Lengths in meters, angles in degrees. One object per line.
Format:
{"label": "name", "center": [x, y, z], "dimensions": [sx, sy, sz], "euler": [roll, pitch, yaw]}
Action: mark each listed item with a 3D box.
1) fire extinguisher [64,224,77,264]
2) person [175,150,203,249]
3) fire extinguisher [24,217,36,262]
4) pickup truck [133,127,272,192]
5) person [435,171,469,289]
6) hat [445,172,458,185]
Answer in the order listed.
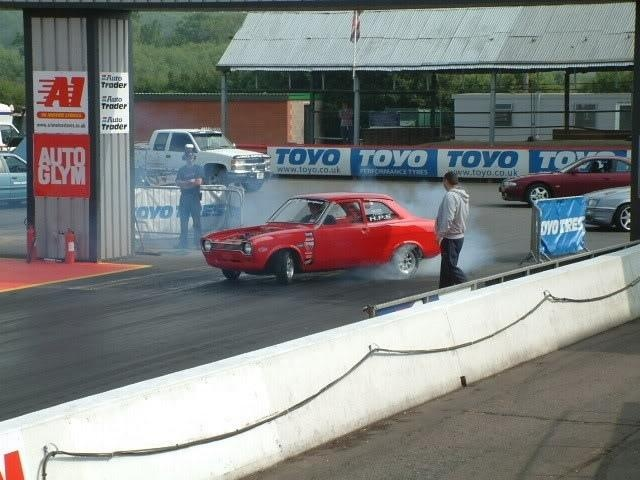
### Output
{"label": "fire extinguisher", "center": [-4.698, 0.116, 18.065], "dimensions": [0.210, 0.649, 0.292], "euler": [-3, 9, -11]}
{"label": "person", "center": [-2.688, -0.698, 19.975], "dimensions": [0.650, 1.700, 0.558], "euler": [2, 9, 21]}
{"label": "fire extinguisher", "center": [-5.488, 0.000, 18.274], "dimensions": [0.177, 0.794, 0.352], "euler": [-4, 9, -16]}
{"label": "pickup truck", "center": [-3.886, -2.346, 30.350], "dimensions": [3.798, 1.775, 2.040], "euler": [5, 9, 29]}
{"label": "person", "center": [1.995, -0.118, 14.549], "dimensions": [0.516, 1.761, 0.642], "euler": [-5, 10, -25]}
{"label": "hat", "center": [1.992, -0.940, 14.724], "dimensions": [0.156, 0.212, 0.209], "euler": [0, 32, 9]}
